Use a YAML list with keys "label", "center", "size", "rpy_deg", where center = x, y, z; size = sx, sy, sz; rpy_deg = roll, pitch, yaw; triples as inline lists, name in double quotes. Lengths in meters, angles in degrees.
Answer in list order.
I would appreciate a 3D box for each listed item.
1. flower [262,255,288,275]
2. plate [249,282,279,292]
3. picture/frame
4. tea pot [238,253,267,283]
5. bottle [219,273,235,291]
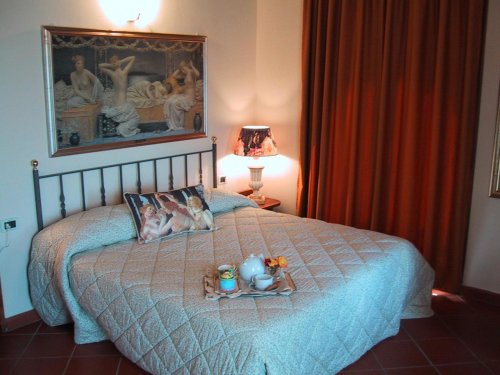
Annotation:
- label: "flower"
  center: [0.172, 0.499, 2.542]
  size: [0.139, 0.144, 0.140]
  rpy_deg: [4, 7, 14]
- label: "plate"
  center: [0.094, 0.637, 2.377]
  size: [0.187, 0.022, 0.098]
  rpy_deg: [-4, 13, 6]
- label: "picture/frame"
  center: [-1.237, -0.936, 3.511]
  size: [1.401, 0.895, 0.063]
  rpy_deg: [-10, 19, -41]
- label: "tea pot"
  center: [0.018, 0.534, 2.466]
  size: [0.149, 0.155, 0.187]
  rpy_deg: [-8, -15, 42]
- label: "bottle"
  center: [-0.144, 0.601, 2.361]
  size: [0.081, 0.099, 0.121]
  rpy_deg: [1, 2, 11]
